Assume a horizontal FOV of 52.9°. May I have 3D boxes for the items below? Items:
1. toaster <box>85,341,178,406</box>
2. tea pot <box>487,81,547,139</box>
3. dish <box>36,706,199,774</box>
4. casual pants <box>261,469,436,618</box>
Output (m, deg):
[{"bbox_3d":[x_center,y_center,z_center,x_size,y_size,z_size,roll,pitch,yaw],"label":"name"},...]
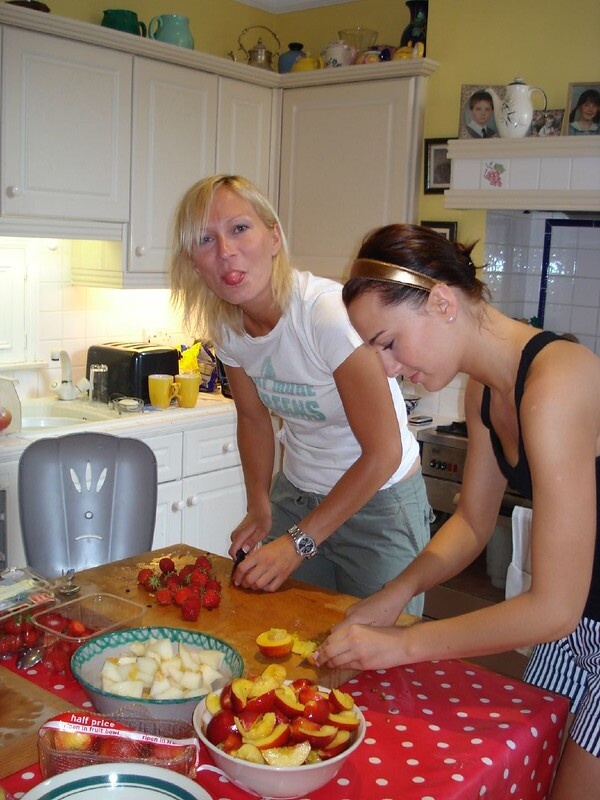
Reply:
[{"bbox_3d":[-0.816,-0.171,2.981,0.298,0.261,0.419,1,5,-42],"label":"toaster"},{"bbox_3d":[0.928,-1.248,2.600,0.255,0.260,0.156,4,15,10],"label":"tea pot"},{"bbox_3d":[-0.152,0.273,0.502,0.106,0.038,0.067,11,2,5],"label":"dish"},{"bbox_3d":[0.160,0.323,1.514,0.423,0.152,0.322,11,31,-10],"label":"casual pants"}]
